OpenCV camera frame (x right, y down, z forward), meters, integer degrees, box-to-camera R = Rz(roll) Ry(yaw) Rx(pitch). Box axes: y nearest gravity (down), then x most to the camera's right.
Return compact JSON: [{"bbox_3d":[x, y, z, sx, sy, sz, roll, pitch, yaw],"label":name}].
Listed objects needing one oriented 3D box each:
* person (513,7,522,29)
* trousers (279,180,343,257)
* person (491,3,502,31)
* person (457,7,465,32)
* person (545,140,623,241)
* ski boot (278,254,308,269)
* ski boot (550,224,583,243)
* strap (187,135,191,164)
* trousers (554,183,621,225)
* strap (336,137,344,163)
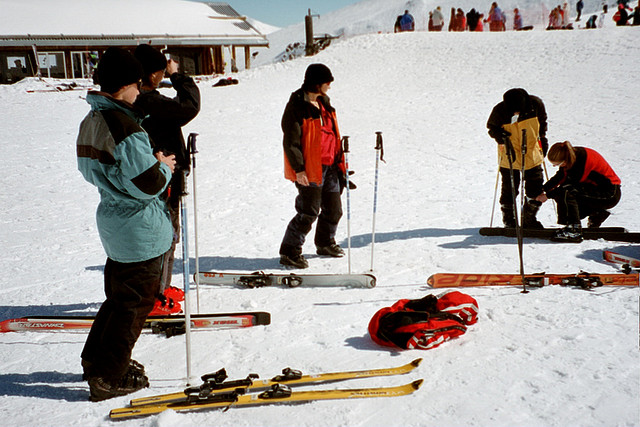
[{"bbox_3d":[9.440,-9.309,29.414,0.360,0.865,1.309,3,16,17],"label":"person"},{"bbox_3d":[-0.135,0.138,10.289,1.176,1.539,0.632,-13,21,-42],"label":"trousers"},{"bbox_3d":[8.204,-9.202,28.747,0.481,1.254,1.367,2,16,15],"label":"person"},{"bbox_3d":[6.672,-9.305,29.518,0.280,0.980,0.498,0,16,7],"label":"person"},{"bbox_3d":[4.563,-0.417,10.731,1.241,1.684,0.520,-7,17,-18],"label":"person"},{"bbox_3d":[-0.458,0.786,9.936,0.488,0.204,0.189,3,8,10],"label":"ski boot"},{"bbox_3d":[4.275,0.361,10.641,0.575,0.322,0.238,5,3,12],"label":"ski boot"},{"bbox_3d":[-1.743,-0.849,8.104,0.048,0.362,0.188,-6,16,-11],"label":"strap"},{"bbox_3d":[4.735,-0.205,10.993,0.965,0.706,1.079,-1,-18,-38],"label":"trousers"},{"bbox_3d":[0.314,-1.006,9.950,0.062,0.440,0.081,3,-2,-2],"label":"strap"}]
